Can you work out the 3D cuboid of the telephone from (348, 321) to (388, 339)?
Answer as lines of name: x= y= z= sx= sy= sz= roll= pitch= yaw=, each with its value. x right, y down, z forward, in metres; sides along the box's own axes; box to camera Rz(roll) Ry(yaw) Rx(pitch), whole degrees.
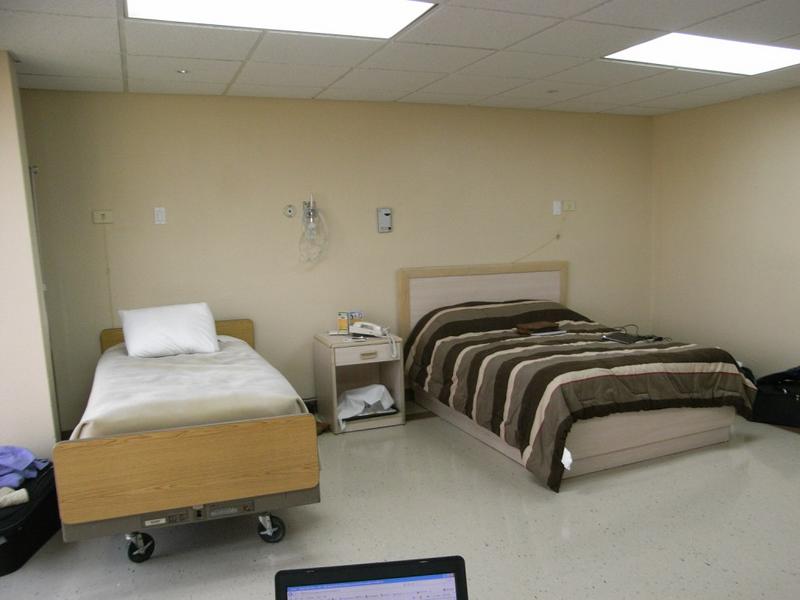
telephone: x=-0.271 y=0.265 z=4.993 sx=0.258 sy=0.114 sz=0.155 roll=0 pitch=3 yaw=2

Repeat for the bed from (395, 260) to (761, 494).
bed: x=1.275 y=0.417 z=4.814 sx=2.007 sy=1.208 sz=2.256 roll=-6 pitch=13 yaw=-21

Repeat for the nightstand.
nightstand: x=-0.375 y=0.679 z=5.199 sx=0.837 sy=0.986 sz=0.789 roll=-3 pitch=5 yaw=-23

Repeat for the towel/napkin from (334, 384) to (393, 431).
towel/napkin: x=-0.295 y=0.908 z=4.935 sx=0.370 sy=0.116 sz=0.355 roll=-8 pitch=16 yaw=-13

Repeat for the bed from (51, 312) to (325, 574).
bed: x=-1.173 y=0.702 z=3.132 sx=0.845 sy=0.632 sz=1.067 roll=-6 pitch=15 yaw=-18
